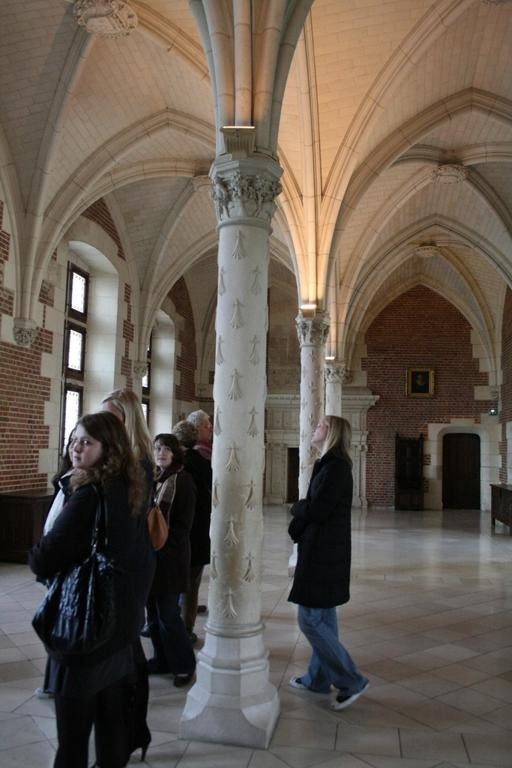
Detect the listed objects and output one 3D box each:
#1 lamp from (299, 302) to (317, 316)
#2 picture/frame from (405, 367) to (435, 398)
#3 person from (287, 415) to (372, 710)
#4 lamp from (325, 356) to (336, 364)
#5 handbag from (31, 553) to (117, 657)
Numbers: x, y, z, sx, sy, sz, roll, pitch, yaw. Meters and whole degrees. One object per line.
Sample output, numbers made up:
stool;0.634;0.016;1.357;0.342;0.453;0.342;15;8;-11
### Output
lamp;0.702;-1.017;7.902;0.234;0.258;0.175;1;4;3
picture/frame;4.674;-0.047;16.371;0.804;0.929;0.065;2;-1;3
person;0.372;0.899;2.952;0.414;1.478;0.293;3;-7;-11
lamp;1.485;-0.492;11.547;0.146;0.147;0.036;3;-19;15
handbag;-0.487;0.579;1.546;0.216;0.256;0.083;1;-7;12
